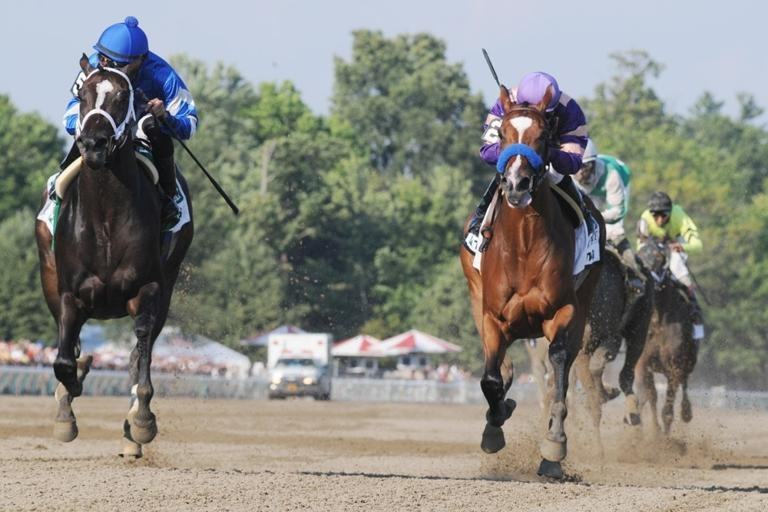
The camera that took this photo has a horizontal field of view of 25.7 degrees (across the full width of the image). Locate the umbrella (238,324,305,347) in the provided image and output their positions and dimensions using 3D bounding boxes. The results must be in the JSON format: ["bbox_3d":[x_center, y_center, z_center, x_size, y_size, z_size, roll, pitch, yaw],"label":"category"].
[{"bbox_3d":[-2.142,1.483,31.460,1.409,0.435,0.776,-5,-13,34],"label":"umbrella"}]

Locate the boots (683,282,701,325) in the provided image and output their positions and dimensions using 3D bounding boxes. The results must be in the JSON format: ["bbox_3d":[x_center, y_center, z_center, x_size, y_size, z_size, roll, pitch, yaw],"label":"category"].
[{"bbox_3d":[5.704,0.960,31.249,0.187,0.879,0.226,-10,-7,-37],"label":"boots"}]

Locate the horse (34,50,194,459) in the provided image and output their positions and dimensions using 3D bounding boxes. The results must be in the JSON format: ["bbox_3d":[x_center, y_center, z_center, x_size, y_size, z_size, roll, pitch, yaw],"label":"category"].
[{"bbox_3d":[-4.670,0.117,27.929,2.353,6.293,3.191,-1,-11,14],"label":"horse"}]

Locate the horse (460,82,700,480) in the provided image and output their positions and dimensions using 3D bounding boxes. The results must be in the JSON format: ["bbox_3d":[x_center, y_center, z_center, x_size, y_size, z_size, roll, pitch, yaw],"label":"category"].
[{"bbox_3d":[2.417,0.446,27.178,1.882,6.188,1.957,2,-10,-3],"label":"horse"}]
